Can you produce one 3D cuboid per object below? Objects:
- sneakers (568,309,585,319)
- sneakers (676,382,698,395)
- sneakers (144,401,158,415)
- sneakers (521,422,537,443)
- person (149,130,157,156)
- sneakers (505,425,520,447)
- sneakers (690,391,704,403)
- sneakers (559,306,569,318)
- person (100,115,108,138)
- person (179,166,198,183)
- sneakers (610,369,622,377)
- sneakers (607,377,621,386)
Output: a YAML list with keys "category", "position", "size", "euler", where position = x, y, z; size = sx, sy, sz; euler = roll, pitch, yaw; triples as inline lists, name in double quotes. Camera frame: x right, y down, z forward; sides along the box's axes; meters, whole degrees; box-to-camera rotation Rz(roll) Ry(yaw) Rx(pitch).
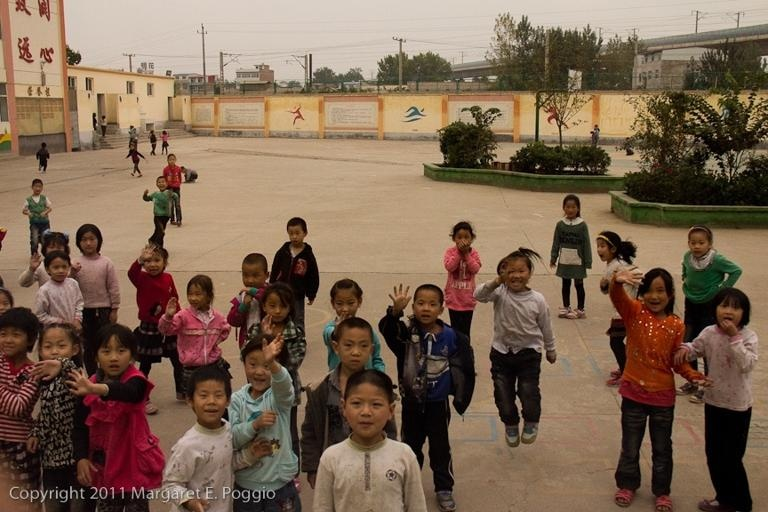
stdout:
- category: "sneakers"
  position: [2.828, 0.853, 9.649]
  size: [0.252, 0.113, 0.121]
  euler: [7, 0, -7]
- category: "sneakers"
  position: [3.476, 1.499, 7.463]
  size: [0.207, 0.112, 0.305]
  euler: [3, 10, 27]
- category: "sneakers"
  position: [-2.492, 1.628, 7.075]
  size: [0.120, 0.084, 0.249]
  euler: [-4, 9, -18]
- category: "sneakers"
  position: [1.398, 1.693, 6.245]
  size: [0.139, 0.276, 0.175]
  euler: [1, 9, 15]
- category: "person"
  position: [-12.559, -6.169, 35.775]
  size: [0.314, 1.343, 2.144]
  euler: [-5, 9, -20]
- category: "sneakers"
  position: [1.259, 1.703, 6.236]
  size: [0.168, 0.201, 0.104]
  euler: [-7, 10, -34]
- category: "sneakers"
  position: [3.493, 1.564, 7.297]
  size: [0.129, 0.089, 0.250]
  euler: [3, 10, 25]
- category: "sneakers"
  position: [2.718, 0.819, 9.771]
  size: [0.182, 0.139, 0.259]
  euler: [1, 9, 14]
- category: "person"
  position: [-17.900, -8.357, 42.091]
  size: [0.349, 1.395, 1.419]
  euler: [-5, 9, -20]
- category: "person"
  position: [-6.824, -2.863, 23.227]
  size: [0.418, 0.508, 1.548]
  euler: [-4, 9, -18]
- category: "sneakers"
  position: [2.764, 1.383, 7.734]
  size: [0.056, 0.065, 0.153]
  euler: [5, 6, 12]
- category: "sneakers"
  position: [2.692, 1.453, 7.619]
  size: [0.132, 0.067, 0.162]
  euler: [2, 9, 22]
